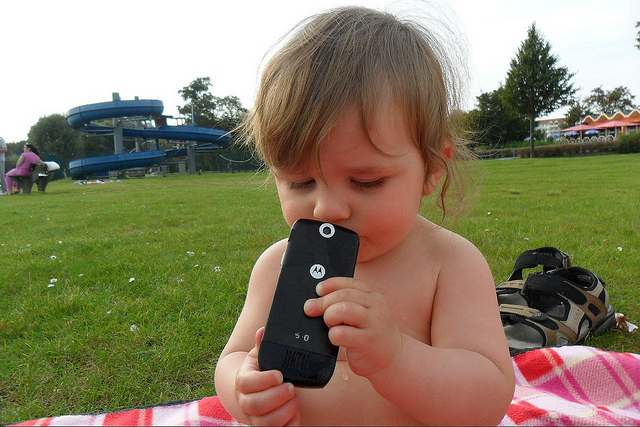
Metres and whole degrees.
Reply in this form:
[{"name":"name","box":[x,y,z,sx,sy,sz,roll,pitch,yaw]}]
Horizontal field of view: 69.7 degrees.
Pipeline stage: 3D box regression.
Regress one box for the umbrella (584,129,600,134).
[{"name":"umbrella","box":[27.907,-8.409,47.137,1.271,0.612,1.824,9,18,34]}]

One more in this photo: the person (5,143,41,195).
[{"name":"person","box":[-9.157,-1.331,14.096,0.978,1.483,1.601,-11,17,-33]}]

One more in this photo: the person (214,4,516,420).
[{"name":"person","box":[0.196,0.003,2.093,1.224,1.797,0.800,-4,14,-13]}]

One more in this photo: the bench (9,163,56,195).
[{"name":"bench","box":[-9.199,-1.302,14.701,0.856,1.034,1.790,3,10,-19]}]
